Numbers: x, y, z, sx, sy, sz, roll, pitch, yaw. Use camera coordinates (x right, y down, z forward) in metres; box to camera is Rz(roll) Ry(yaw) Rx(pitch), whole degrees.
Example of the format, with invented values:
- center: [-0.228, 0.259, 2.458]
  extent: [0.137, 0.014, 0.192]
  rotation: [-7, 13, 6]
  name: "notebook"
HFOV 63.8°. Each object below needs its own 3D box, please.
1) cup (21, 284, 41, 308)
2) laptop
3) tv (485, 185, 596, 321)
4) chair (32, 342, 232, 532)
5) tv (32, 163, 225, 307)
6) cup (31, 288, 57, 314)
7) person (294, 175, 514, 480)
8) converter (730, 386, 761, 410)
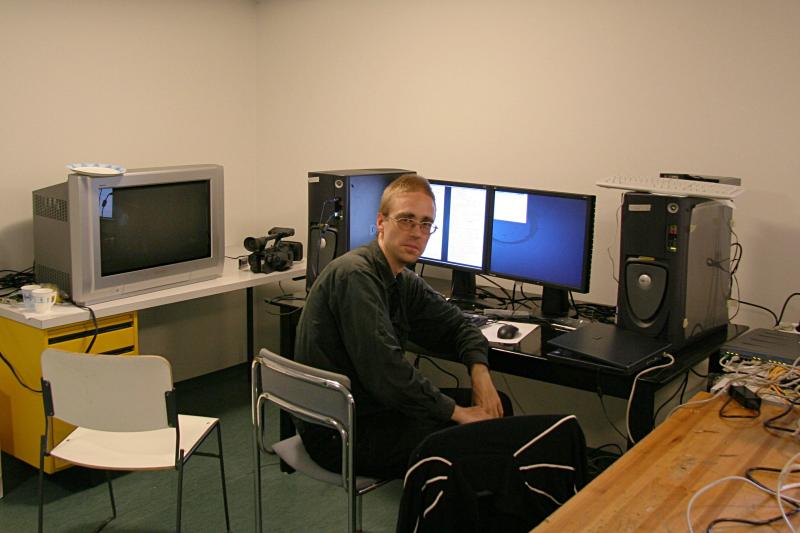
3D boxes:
- center: [-1.885, 0.155, 3.319]
  extent: [0.114, 0.108, 0.116]
  rotation: [2, 3, 0]
  name: "cup"
- center: [0.914, 0.346, 2.808]
  extent: [0.262, 0.057, 0.253]
  rotation: [-13, 19, -37]
  name: "laptop"
- center: [0.721, -0.076, 3.276]
  extent: [0.633, 0.697, 0.312]
  rotation: [9, 16, 37]
  name: "tv"
- center: [-1.321, 0.869, 3.094]
  extent: [0.706, 1.014, 0.692]
  rotation: [5, 22, 3]
  name: "chair"
- center: [-1.436, -0.184, 3.639]
  extent: [0.776, 0.820, 1.125]
  rotation: [8, 12, 35]
  name: "tv"
- center: [-1.804, 0.172, 3.247]
  extent: [0.103, 0.114, 0.127]
  rotation: [5, -2, 43]
  name: "cup"
- center: [-0.051, 0.181, 3.610]
  extent: [1.337, 2.171, 0.969]
  rotation: [-1, 8, 8]
  name: "person"
- center: [1.307, 0.495, 2.433]
  extent: [0.062, 0.038, 0.093]
  rotation: [-14, 33, -21]
  name: "converter"
